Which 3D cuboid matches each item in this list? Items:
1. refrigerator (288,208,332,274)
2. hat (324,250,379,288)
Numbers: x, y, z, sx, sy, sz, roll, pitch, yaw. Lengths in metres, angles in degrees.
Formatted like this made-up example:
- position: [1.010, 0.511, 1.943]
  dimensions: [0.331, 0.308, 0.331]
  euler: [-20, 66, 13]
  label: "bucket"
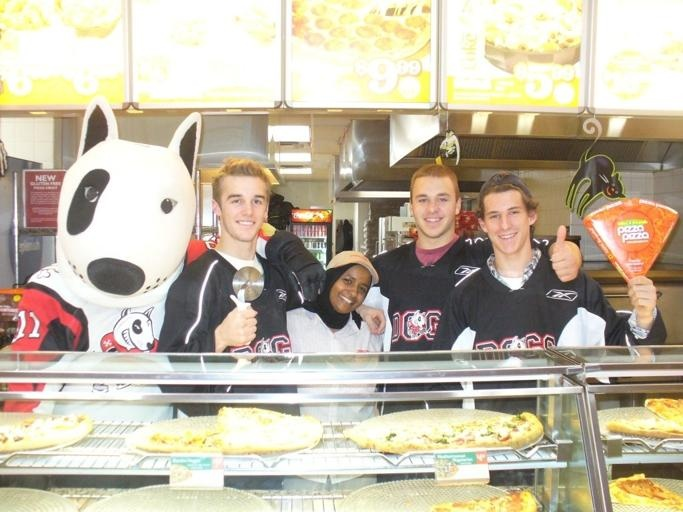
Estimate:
- position: [-0.571, -0.393, 11.204]
  dimensions: [0.750, 1.247, 0.445]
  euler: [-2, 28, -8]
  label: "refrigerator"
- position: [0.039, 0.045, 2.651]
  dimensions: [0.141, 0.099, 0.198]
  euler: [37, -20, -32]
  label: "hat"
